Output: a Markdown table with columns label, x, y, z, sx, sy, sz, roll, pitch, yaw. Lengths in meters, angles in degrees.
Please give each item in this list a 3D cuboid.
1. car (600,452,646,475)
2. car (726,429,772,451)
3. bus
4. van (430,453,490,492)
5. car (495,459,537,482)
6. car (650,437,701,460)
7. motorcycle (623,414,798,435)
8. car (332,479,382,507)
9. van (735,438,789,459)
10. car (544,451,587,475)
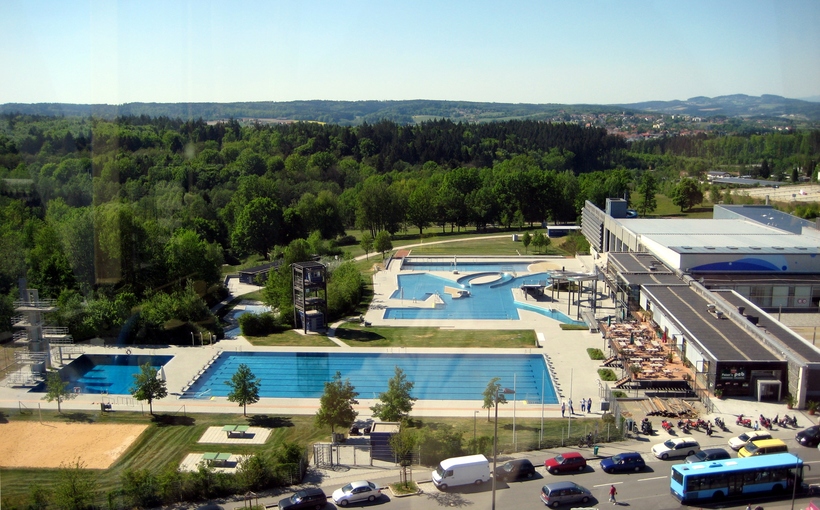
| label | x | y | z | sx | sy | sz | roll | pitch | yaw |
| --- | --- | --- | --- | --- | --- | --- | --- | --- | --- |
| car | 17.735 | 17.103 | 58.350 | 2.605 | 1.008 | 1.835 | 2 | 3 | -2 |
| car | 28.968 | 15.499 | 59.986 | 2.959 | 1.075 | 1.623 | -2 | 7 | -12 |
| bus | 25.920 | 17.697 | 55.626 | 10.005 | 2.798 | 1.382 | -4 | 12 | -2 |
| van | 4.093 | 17.627 | 57.742 | 4.384 | 1.995 | 2.227 | -1 | 4 | -10 |
| car | 8.620 | 17.591 | 58.038 | 2.681 | 1.203 | 1.731 | 3 | 5 | -4 |
| car | 22.636 | 16.383 | 59.538 | 3.801 | 1.267 | 1.760 | -2 | 10 | -5 |
| motorcycle | 27.168 | 15.004 | 62.547 | 7.569 | 1.192 | 1.132 | -1 | 9 | 3 |
| car | -4.316 | 18.859 | 56.286 | 3.523 | 1.173 | 1.794 | 1 | 13 | -9 |
| van | 29.508 | 15.900 | 58.447 | 3.123 | 1.504 | 1.779 | 0 | 3 | -2 |
| car | 13.030 | 17.063 | 58.371 | 2.547 | 1.090 | 1.789 | 2 | 4 | -4 |
